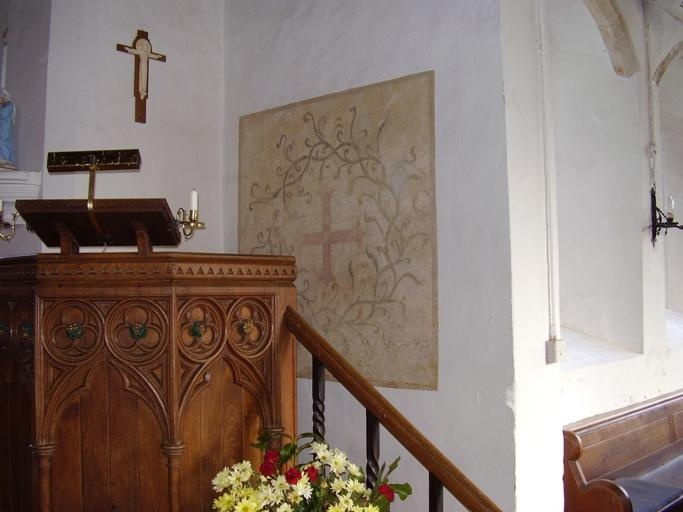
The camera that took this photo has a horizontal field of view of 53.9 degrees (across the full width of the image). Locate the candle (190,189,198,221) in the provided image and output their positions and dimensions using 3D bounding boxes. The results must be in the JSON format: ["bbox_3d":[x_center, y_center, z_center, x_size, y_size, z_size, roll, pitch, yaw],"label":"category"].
[{"bbox_3d":[-0.817,-0.279,3.711,0.032,0.169,0.034,-2,-4,-5],"label":"candle"}]

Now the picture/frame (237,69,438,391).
[{"bbox_3d":[0.034,-0.134,3.941,0.084,2.390,1.698,3,-3,-43],"label":"picture/frame"}]
